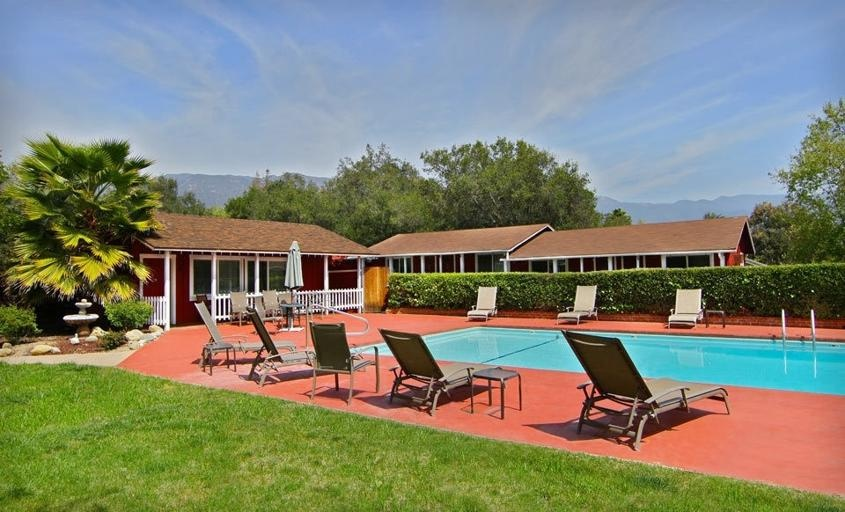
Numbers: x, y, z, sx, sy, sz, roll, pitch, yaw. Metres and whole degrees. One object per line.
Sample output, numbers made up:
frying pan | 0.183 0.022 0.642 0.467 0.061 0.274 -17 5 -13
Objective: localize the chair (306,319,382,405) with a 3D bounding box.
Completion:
chair | -2.178 2.778 15.366 1.886 2.824 2.229 -1 -2 27

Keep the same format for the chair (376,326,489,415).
chair | 0.108 2.873 14.329 2.133 1.986 1.645 6 12 32

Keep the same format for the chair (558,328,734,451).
chair | 4.648 2.983 12.996 4.687 2.450 2.107 -4 0 -39

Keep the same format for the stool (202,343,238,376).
stool | -6.516 3.228 17.220 0.964 0.773 0.962 1 2 45

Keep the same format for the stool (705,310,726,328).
stool | 13.290 2.739 24.482 1.008 0.979 1.008 1 3 27

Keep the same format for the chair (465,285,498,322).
chair | 3.109 2.416 27.885 1.325 1.648 1.923 4 11 23

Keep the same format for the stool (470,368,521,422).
stool | 1.987 3.549 14.111 1.157 1.157 1.265 -5 -7 34

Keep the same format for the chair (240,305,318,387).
chair | -4.113 2.640 15.886 2.039 1.457 1.011 7 -3 7
